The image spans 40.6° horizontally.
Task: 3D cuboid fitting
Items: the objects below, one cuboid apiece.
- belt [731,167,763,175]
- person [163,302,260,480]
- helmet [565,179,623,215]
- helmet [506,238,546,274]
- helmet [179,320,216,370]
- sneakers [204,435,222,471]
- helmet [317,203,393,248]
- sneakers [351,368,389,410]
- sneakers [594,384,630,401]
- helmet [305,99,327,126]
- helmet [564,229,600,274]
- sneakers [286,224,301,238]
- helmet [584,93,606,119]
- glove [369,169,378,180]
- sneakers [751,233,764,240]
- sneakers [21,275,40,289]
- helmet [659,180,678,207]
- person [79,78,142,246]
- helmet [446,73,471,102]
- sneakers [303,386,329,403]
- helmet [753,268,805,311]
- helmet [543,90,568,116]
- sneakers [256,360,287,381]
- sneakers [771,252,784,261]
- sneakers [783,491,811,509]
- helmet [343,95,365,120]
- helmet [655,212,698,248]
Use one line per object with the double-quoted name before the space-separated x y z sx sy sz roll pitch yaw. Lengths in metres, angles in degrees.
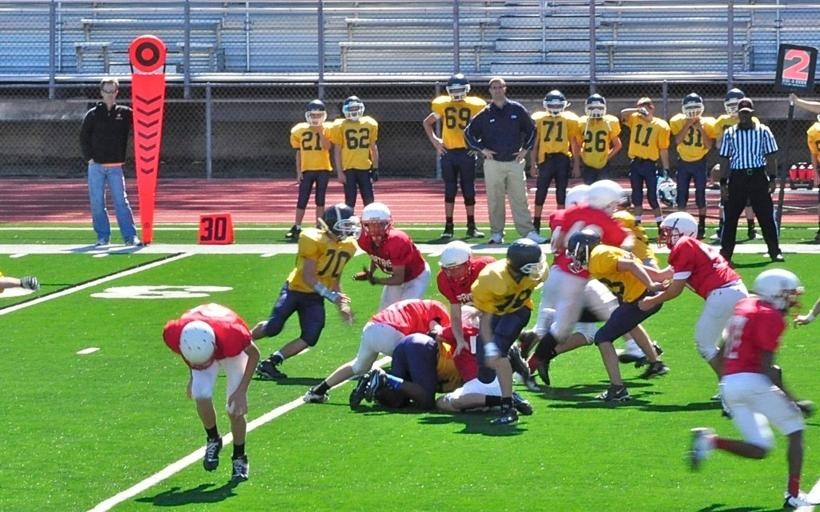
"belt" 4.370 -1.098 14.342 0.387 0.094 0.102 -2 5 -1
"person" -1.596 1.136 9.150 0.741 1.440 0.453 -2 5 -1
"helmet" 1.872 -0.606 11.365 0.546 0.227 0.320 8 30 28
"helmet" 1.050 0.017 10.083 0.415 0.285 0.305 8 16 5
"helmet" -1.694 0.721 8.891 0.318 0.331 0.363 -2 10 -8
"sneakers" -1.618 1.659 9.261 0.118 0.291 0.146 1 -5 1
"helmet" -0.543 -0.336 11.221 0.603 0.227 0.374 -1 8 9
"sneakers" -0.360 1.229 10.274 0.264 0.184 0.526 20 -46 -25
"sneakers" 1.889 1.306 10.443 0.392 0.161 0.120 1 8 1
"helmet" -1.397 -2.145 16.603 0.269 0.418 0.672 -3 5 -6
"helmet" 1.759 -0.016 10.576 0.355 0.379 0.440 -3 2 -33
"sneakers" -1.750 -0.364 16.704 0.142 0.151 0.354 23 28 -6
"helmet" 2.766 -2.276 16.693 0.410 0.384 0.486 0 4 4
"glove" -0.537 -1.212 16.463 0.138 0.155 0.053 6 3 -2
"sneakers" 5.082 -0.279 16.275 0.088 0.096 0.273 2 16 31
"sneakers" -4.181 0.305 12.228 0.210 0.096 0.232 2 -1 -14
"helmet" 3.906 -0.968 16.994 0.370 0.367 0.389 1 2 -13
"person" -4.341 -1.347 16.038 0.770 2.451 0.834 -4 5 -14
"helmet" 0.723 -2.499 16.235 0.474 0.405 0.477 -8 12 10
"sneakers" -0.875 1.325 10.401 0.291 0.097 0.122 -3 1 -7
"helmet" 2.896 0.293 8.926 0.514 0.350 0.356 2 4 -20
"helmet" 2.120 -2.269 16.336 0.453 0.376 0.497 0 8 2
"sneakers" -1.371 1.144 11.061 0.402 0.172 0.131 11 15 -3
"sneakers" 4.798 0.022 14.483 0.168 0.056 0.094 -2 6 28
"sneakers" 3.017 1.915 8.617 0.218 0.125 0.095 -3 5 -19
"helmet" -0.826 -2.188 16.383 0.266 0.370 0.418 -3 5 -6
"helmet" 2.618 -0.252 10.743 0.429 0.312 0.322 2 5 7
